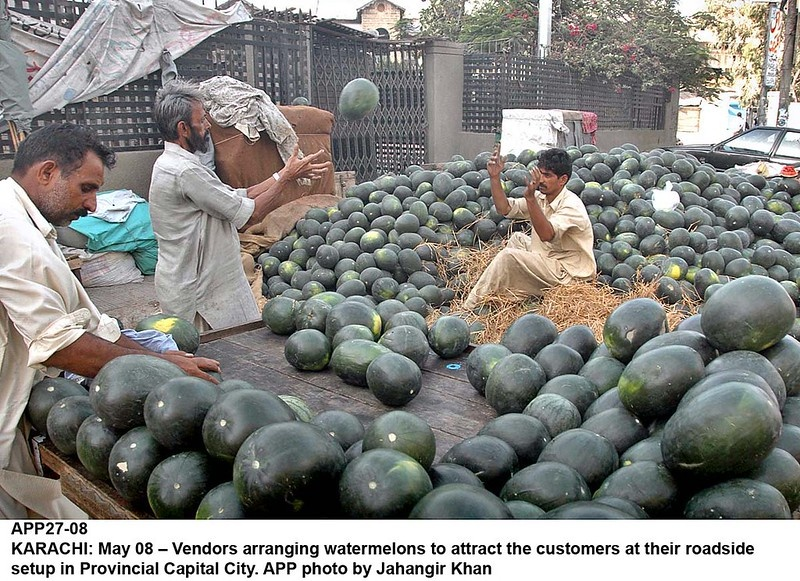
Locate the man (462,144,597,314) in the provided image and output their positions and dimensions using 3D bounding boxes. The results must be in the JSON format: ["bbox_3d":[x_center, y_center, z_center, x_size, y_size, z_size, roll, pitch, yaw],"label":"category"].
[{"bbox_3d":[1.586,-0.673,6.338,1.495,2.058,1.086,1,16,-5],"label":"man"}]

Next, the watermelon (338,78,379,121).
[{"bbox_3d":[-0.549,-2.586,7.068,0.453,0.537,0.732,2,17,-6],"label":"watermelon"}]

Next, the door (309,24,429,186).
[{"bbox_3d":[-0.873,-5.525,13.340,2.658,0.850,2.740,-3,-16,-20],"label":"door"}]

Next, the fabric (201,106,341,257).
[{"bbox_3d":[-1.766,-1.447,7.028,1.183,1.583,2.191,-26,-2,27],"label":"fabric"}]

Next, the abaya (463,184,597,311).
[{"bbox_3d":[1.462,-0.462,6.416,1.595,1.711,1.217,1,-1,6],"label":"abaya"}]

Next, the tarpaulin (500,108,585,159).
[{"bbox_3d":[3.148,-3.709,12.197,1.801,0.952,1.872,-3,28,-2],"label":"tarpaulin"}]
